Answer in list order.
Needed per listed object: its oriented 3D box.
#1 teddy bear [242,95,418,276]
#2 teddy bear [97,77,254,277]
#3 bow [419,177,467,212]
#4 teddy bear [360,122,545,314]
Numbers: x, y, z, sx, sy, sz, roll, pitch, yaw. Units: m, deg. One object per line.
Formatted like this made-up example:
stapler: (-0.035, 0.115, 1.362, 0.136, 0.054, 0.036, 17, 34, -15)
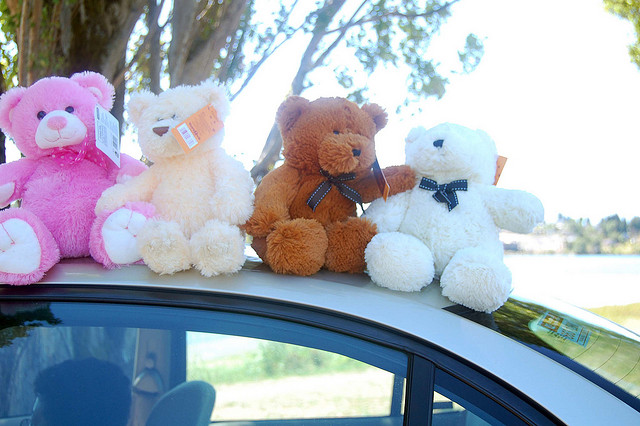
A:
teddy bear: (0.052, -0.093, 2.172, 0.631, 0.848, 0.705, 0, 0, 5)
teddy bear: (-0.527, -0.172, 1.933, 0.653, 0.738, 0.431, 18, 17, 33)
bow: (0.539, -0.088, 2.033, 0.190, 0.135, 0.179, -6, 11, -39)
teddy bear: (0.566, -0.028, 1.971, 0.758, 0.661, 0.590, 10, 14, 5)
